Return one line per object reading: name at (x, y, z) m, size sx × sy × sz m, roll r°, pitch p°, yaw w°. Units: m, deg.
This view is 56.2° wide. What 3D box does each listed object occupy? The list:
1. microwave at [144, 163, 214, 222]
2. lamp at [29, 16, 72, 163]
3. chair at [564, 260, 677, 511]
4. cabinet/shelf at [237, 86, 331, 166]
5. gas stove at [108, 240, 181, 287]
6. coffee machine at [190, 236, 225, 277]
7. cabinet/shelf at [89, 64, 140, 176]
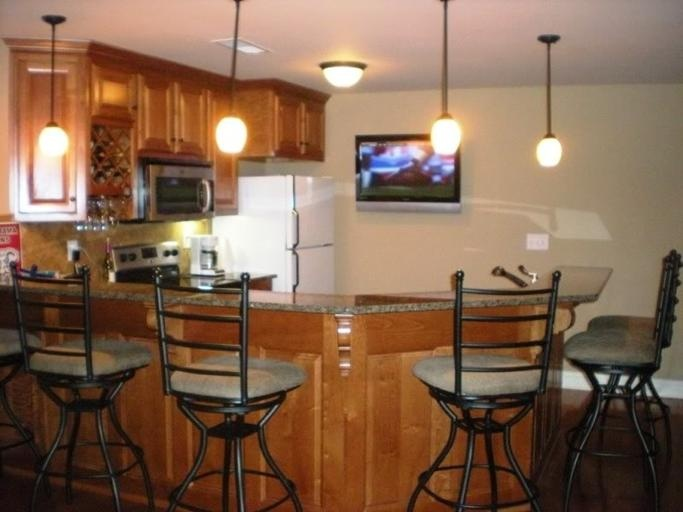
microwave at (-1.459, -0.522, 5.474) m, size 0.446 × 0.478 × 0.759 m, roll 6°, pitch 7°, yaw 40°
lamp at (-1.931, -1.101, 4.288) m, size 0.202 × 0.846 × 0.624 m, roll -2°, pitch 6°, yaw -24°
chair at (1.929, 0.703, 4.315) m, size 0.813 × 1.555 × 1.772 m, roll 2°, pitch 5°, yaw 19°
cabinet/shelf at (-0.562, -1.282, 6.261) m, size 0.515 × 0.677 × 1.079 m, roll 4°, pitch 7°, yaw 26°
gas stove at (-1.708, 0.052, 5.563) m, size 0.221 × 0.311 × 0.670 m, roll 5°, pitch 9°, yaw 40°
coffee machine at (-1.271, -0.004, 5.933) m, size 0.381 × 0.449 × 0.299 m, roll 1°, pitch 5°, yaw 20°
cabinet/shelf at (-1.687, -1.022, 4.788) m, size 0.110 × 0.745 × 0.392 m, roll 3°, pitch 6°, yaw 19°
